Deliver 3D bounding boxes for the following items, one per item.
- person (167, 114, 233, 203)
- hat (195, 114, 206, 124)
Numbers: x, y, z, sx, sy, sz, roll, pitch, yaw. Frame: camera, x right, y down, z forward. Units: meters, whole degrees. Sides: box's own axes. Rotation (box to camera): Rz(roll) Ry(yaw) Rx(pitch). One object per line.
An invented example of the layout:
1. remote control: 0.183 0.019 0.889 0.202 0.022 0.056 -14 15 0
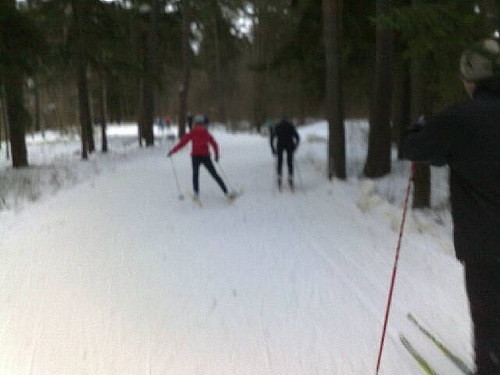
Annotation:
1. person: -1.167 -0.703 11.315 1.310 2.074 0.832 -1 9 -4
2. hat: -1.200 -1.608 11.161 0.262 0.232 0.536 -2 12 -7
